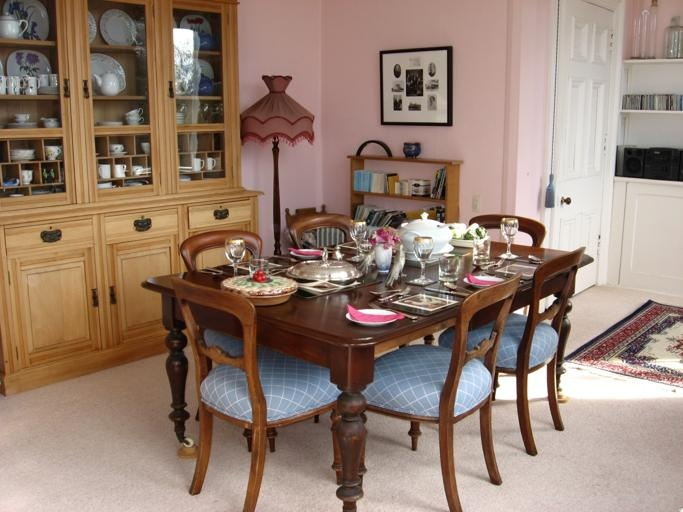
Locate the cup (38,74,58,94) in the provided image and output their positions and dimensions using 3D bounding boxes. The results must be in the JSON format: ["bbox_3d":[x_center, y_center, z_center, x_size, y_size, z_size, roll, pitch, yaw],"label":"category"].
[{"bbox_3d":[-1.883,-1.110,3.311,0.156,0.119,0.094,-2,7,-15],"label":"cup"}]

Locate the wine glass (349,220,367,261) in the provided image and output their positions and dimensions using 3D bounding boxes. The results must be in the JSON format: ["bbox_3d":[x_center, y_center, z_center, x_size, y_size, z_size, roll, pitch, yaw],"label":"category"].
[{"bbox_3d":[0.094,-0.097,2.781,0.072,0.193,0.197,-3,13,-10],"label":"wine glass"}]

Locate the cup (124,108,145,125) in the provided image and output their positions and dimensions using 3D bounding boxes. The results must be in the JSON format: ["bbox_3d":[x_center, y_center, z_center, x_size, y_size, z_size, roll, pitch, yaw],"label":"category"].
[{"bbox_3d":[-1.471,-1.000,3.659,0.135,0.090,0.104,-10,25,-17],"label":"cup"}]

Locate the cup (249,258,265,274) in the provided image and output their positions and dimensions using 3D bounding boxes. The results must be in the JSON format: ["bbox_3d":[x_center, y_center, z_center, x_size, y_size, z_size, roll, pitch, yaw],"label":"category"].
[{"bbox_3d":[-0.398,0.043,2.414,0.081,0.069,0.069,3,6,28],"label":"cup"}]

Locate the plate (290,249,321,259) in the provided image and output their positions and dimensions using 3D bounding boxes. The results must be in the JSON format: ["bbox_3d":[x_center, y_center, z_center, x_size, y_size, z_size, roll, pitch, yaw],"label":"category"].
[{"bbox_3d":[-0.185,-0.019,2.906,0.091,0.020,0.092,-6,13,-43],"label":"plate"}]

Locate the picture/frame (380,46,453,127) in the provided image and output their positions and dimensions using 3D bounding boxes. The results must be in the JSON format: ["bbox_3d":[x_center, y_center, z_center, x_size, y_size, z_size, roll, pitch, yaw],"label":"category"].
[{"bbox_3d":[0.669,-1.514,4.586,0.747,0.641,0.084,17,30,42],"label":"picture/frame"}]

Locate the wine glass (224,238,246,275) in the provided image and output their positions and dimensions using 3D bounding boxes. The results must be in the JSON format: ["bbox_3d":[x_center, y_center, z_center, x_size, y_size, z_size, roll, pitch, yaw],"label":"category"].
[{"bbox_3d":[-0.534,-0.016,2.577,0.087,0.193,0.342,-4,12,-12],"label":"wine glass"}]

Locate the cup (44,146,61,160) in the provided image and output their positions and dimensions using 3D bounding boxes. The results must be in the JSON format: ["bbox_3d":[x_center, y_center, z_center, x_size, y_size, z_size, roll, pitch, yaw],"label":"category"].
[{"bbox_3d":[-1.868,-0.673,3.322,0.097,0.066,0.086,-1,11,-4],"label":"cup"}]

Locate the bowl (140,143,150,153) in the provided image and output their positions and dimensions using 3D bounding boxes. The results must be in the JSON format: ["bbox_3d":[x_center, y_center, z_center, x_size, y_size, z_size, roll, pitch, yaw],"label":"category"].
[{"bbox_3d":[-1.423,-0.790,3.728,0.074,0.053,0.071,0,5,0],"label":"bowl"}]

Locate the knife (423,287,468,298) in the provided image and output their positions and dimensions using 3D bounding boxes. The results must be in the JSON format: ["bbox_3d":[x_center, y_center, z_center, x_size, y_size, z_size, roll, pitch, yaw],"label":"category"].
[{"bbox_3d":[0.470,0.159,2.297,0.102,0.017,0.184,-5,9,-39],"label":"knife"}]

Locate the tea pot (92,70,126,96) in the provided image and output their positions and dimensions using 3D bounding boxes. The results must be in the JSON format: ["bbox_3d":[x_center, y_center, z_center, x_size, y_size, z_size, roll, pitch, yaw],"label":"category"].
[{"bbox_3d":[-1.586,-1.180,3.514,0.119,0.113,0.180,5,10,27],"label":"tea pot"}]

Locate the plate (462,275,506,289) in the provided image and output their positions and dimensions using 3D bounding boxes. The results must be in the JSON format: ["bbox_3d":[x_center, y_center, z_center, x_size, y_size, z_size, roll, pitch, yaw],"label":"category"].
[{"bbox_3d":[0.684,0.112,2.436,0.107,0.019,0.102,-4,15,-16],"label":"plate"}]

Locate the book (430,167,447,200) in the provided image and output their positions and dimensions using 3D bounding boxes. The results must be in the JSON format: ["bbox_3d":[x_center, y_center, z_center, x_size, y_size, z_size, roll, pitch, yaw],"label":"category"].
[{"bbox_3d":[0.854,-0.640,4.448,0.087,0.234,0.186,7,2,-4],"label":"book"}]

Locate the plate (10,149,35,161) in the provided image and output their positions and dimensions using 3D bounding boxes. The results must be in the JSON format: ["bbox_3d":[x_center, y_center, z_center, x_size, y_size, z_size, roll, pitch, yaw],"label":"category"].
[{"bbox_3d":[-2.023,-0.640,3.254,0.093,0.038,0.087,0,9,0],"label":"plate"}]

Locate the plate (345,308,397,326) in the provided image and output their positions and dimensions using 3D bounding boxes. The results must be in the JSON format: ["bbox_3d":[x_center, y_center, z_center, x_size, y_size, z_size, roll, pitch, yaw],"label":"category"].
[{"bbox_3d":[0.118,0.227,2.003,0.193,0.033,0.209,-3,12,-9],"label":"plate"}]
